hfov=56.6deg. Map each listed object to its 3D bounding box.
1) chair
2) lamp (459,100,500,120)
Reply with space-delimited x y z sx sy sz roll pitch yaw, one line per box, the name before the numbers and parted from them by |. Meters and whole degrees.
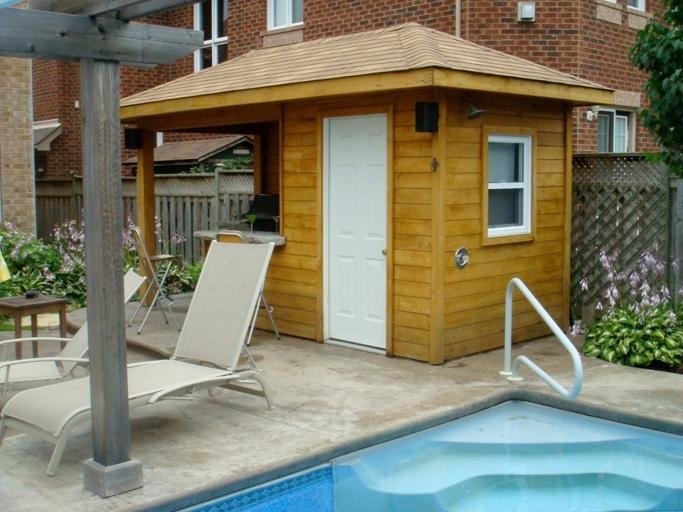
chair | -1.375 0.647 5.442 2.671 1.775 1.187 -2 7 -42
lamp | 1.482 -1.608 7.032 0.200 0.150 0.253 -9 4 -39
